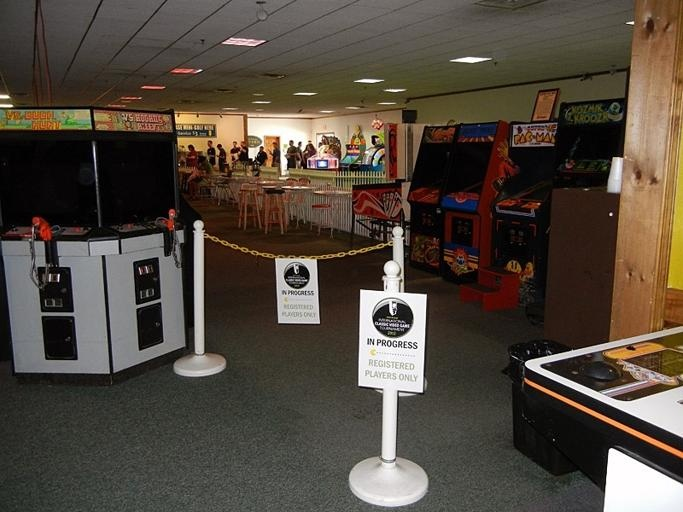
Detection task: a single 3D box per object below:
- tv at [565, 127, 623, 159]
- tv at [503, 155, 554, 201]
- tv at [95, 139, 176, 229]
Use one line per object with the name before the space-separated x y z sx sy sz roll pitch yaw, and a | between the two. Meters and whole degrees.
tv | 2.576 -1.176 5.138 0.214 0.344 0.666 -6 14 -21
tv | 2.216 -0.922 5.916 0.077 0.676 0.711 12 1 -35
tv | -1.764 -0.620 4.247 0.277 0.730 0.850 1 5 33
